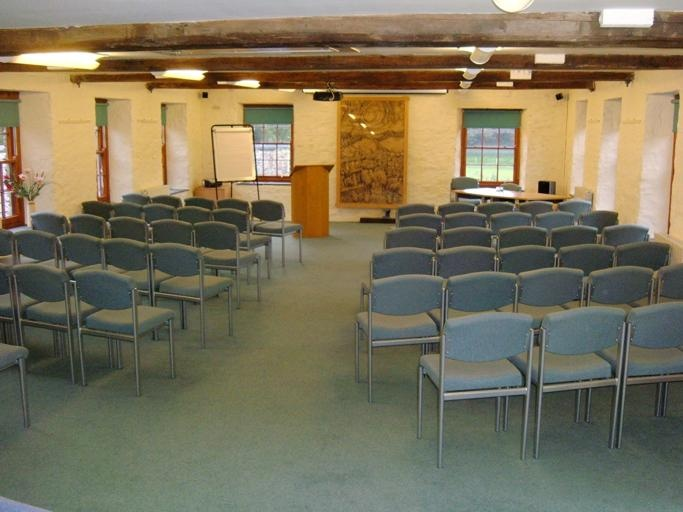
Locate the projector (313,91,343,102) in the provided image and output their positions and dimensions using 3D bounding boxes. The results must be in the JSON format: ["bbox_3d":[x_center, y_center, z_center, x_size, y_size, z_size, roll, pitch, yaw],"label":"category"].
[{"bbox_3d":[-0.296,-3.232,11.458,0.663,0.136,0.520,4,13,11],"label":"projector"}]

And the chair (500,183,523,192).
[{"bbox_3d":[3.689,-1.504,12.459,0.459,0.347,0.398,0,6,10],"label":"chair"}]

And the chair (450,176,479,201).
[{"bbox_3d":[2.998,-1.561,12.988,0.841,0.616,0.695,0,8,-3],"label":"chair"}]

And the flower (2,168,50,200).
[{"bbox_3d":[-4.815,-1.097,8.695,0.810,0.544,0.606,-3,5,-8],"label":"flower"}]

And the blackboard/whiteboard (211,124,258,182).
[{"bbox_3d":[-2.066,-1.950,10.756,0.856,1.071,0.481,-5,12,-23],"label":"blackboard/whiteboard"}]

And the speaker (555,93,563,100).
[{"bbox_3d":[5.066,-3.722,13.287,0.256,0.113,0.159,0,4,14],"label":"speaker"}]
